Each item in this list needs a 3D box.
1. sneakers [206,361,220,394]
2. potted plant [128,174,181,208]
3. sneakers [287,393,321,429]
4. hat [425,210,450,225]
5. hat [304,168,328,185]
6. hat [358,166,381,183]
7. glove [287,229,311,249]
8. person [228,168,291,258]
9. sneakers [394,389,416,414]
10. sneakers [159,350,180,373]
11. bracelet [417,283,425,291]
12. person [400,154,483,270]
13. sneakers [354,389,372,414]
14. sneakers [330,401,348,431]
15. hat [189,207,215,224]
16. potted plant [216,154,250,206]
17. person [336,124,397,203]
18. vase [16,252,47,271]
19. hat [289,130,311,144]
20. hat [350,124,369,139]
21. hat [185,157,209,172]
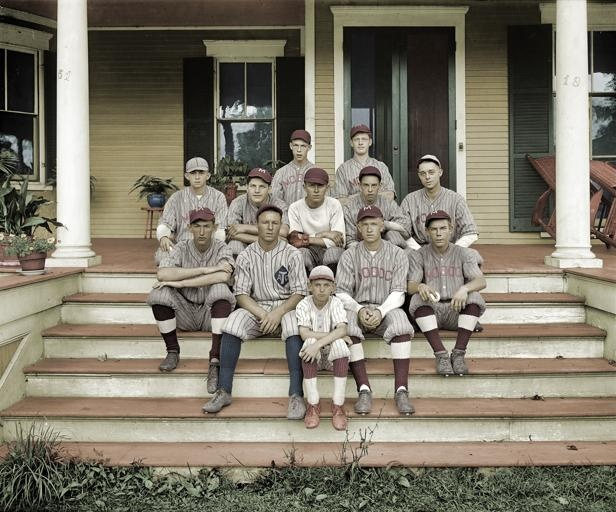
[{"bbox_3d":[-0.812,1.039,5.543,0.097,0.297,0.113,2,-25,-11],"label":"sneakers"},{"bbox_3d":[-2.367,-0.996,9.989,0.704,0.470,0.712,-2,1,37],"label":"potted plant"},{"bbox_3d":[-0.036,1.291,5.260,0.238,0.267,0.305,-5,10,-35],"label":"sneakers"},{"bbox_3d":[1.154,-0.345,5.771,0.203,0.139,0.117,0,8,-4],"label":"hat"},{"bbox_3d":[0.075,-0.762,6.106,0.193,0.152,0.115,-2,9,-19],"label":"hat"},{"bbox_3d":[0.580,-0.780,6.123,0.233,0.112,0.316,0,-7,5],"label":"hat"},{"bbox_3d":[-0.092,-0.167,6.281,0.191,0.127,0.196,17,-14,-2],"label":"glove"},{"bbox_3d":[-0.510,-0.433,6.316,0.722,0.765,1.050,3,18,10],"label":"person"},{"bbox_3d":[0.793,1.204,5.324,0.160,0.192,0.168,2,8,6],"label":"sneakers"},{"bbox_3d":[-1.227,0.918,5.732,0.157,0.155,0.262,0,8,-6],"label":"sneakers"},{"bbox_3d":[0.982,0.269,5.662,0.051,0.038,0.041,-5,-7,11],"label":"bracelet"},{"bbox_3d":[1.265,-0.430,6.324,0.892,1.062,0.842,5,19,33],"label":"person"},{"bbox_3d":[0.454,1.200,5.345,0.142,0.179,0.204,2,8,7],"label":"sneakers"},{"bbox_3d":[0.247,1.299,5.188,0.090,0.086,0.240,0,12,-9],"label":"sneakers"},{"bbox_3d":[-0.950,-0.368,5.807,0.205,0.106,0.289,-2,1,-4],"label":"hat"},{"bbox_3d":[-1.148,-1.152,9.509,0.458,0.600,0.503,-5,12,-42],"label":"potted plant"},{"bbox_3d":[0.584,-0.945,6.868,0.755,0.872,0.647,0,11,12],"label":"person"},{"bbox_3d":[-2.630,0.045,6.162,0.184,0.139,0.198,-1,-7,-1],"label":"vase"},{"bbox_3d":[-0.063,-1.306,6.941,0.171,0.118,0.229,10,-15,6],"label":"hat"},{"bbox_3d":[0.557,-1.344,6.922,0.203,0.161,0.403,2,9,5],"label":"hat"},{"bbox_3d":[-1.115,-0.922,6.508,0.178,0.096,0.248,-2,9,-7],"label":"hat"}]
